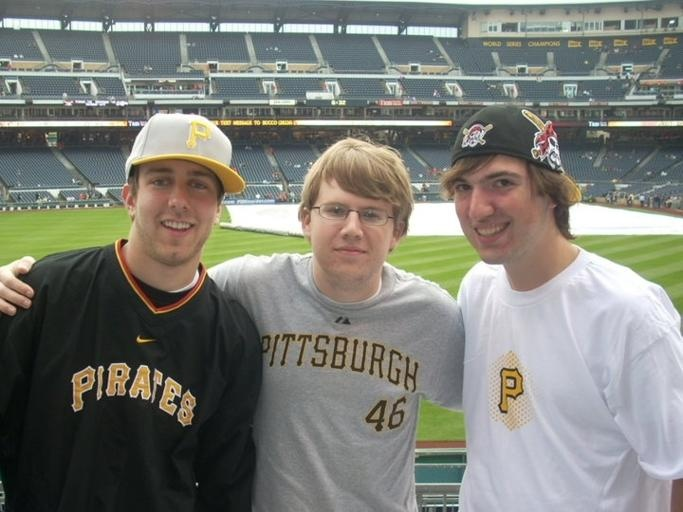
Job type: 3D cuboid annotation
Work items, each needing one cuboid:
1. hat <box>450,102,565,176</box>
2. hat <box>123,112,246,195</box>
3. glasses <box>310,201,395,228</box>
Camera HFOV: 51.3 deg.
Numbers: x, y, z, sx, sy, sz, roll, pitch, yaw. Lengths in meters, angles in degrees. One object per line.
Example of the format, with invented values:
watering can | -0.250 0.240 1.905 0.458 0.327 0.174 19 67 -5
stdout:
hat | 1.013 -0.732 4.305 0.553 0.284 0.411 26 -10 -13
hat | -0.925 -0.659 4.229 0.490 0.335 0.600 14 -13 -38
glasses | 0.066 -0.260 4.371 0.487 0.123 0.109 2 13 -3
